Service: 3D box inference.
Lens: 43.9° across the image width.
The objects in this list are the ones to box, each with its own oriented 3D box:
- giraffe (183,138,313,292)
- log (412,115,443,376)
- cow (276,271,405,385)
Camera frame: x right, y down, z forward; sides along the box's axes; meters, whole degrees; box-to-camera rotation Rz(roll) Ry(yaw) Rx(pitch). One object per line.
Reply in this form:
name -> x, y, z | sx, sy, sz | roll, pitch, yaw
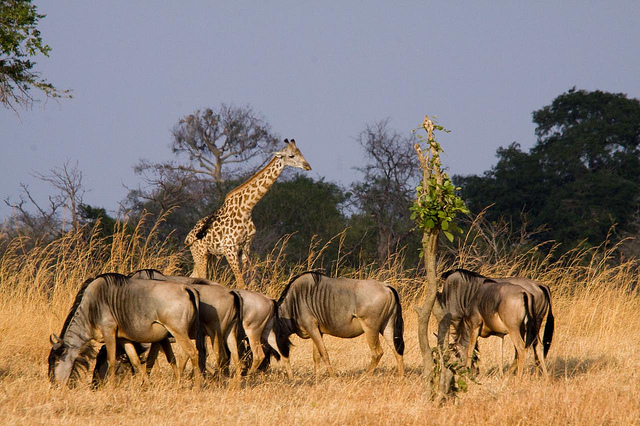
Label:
giraffe -> -1.951, 0.049, 19.217 | 2.569, 3.572, 1.455 | -2, 7, -16
log -> 1.928, 1.081, 14.234 | 0.544, 4.029, 0.326 | 9, 33, 21
cow -> 0.117, 2.276, 15.865 | 3.019, 2.480, 0.876 | -5, 4, 11
